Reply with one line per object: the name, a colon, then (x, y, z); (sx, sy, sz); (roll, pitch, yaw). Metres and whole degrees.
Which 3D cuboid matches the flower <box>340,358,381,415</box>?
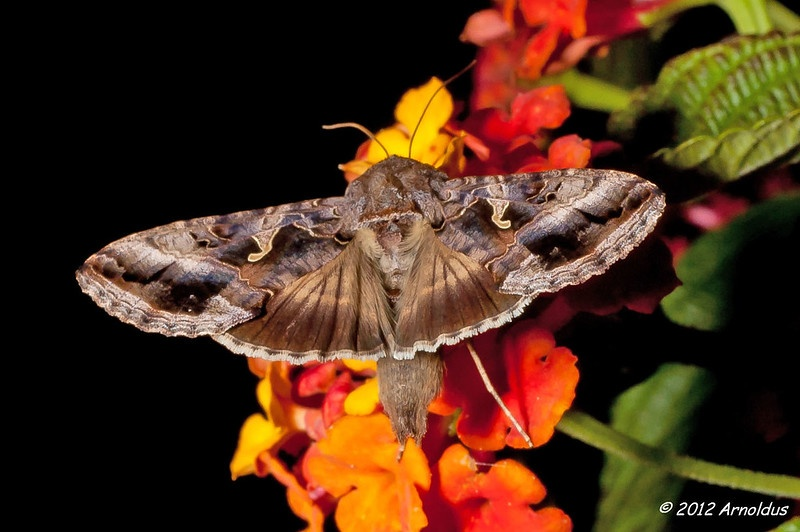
flower: (-0.061, 0.218, 1.631); (0.082, 0.029, 0.081); (-7, 60, 10)
